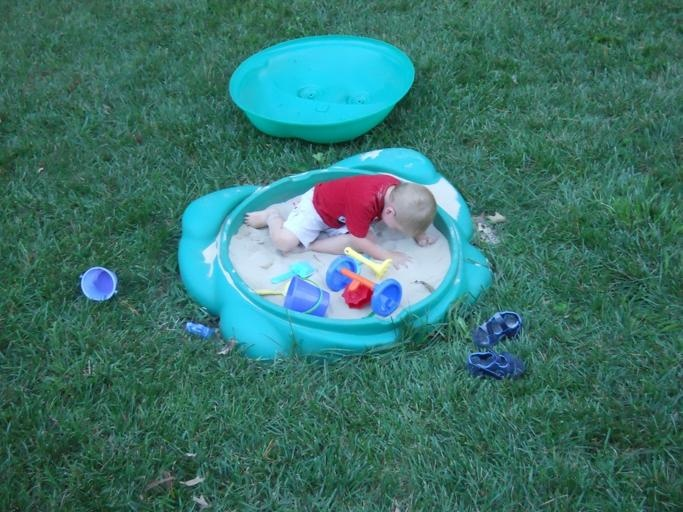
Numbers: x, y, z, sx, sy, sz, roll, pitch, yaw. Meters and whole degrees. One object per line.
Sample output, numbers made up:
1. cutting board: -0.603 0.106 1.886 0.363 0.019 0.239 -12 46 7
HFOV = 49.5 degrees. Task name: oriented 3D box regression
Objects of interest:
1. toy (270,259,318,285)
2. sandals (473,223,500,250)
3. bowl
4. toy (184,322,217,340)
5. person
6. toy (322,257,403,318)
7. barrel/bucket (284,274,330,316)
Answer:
1. toy: -0.330 0.119 5.122 0.255 0.038 0.141 -25 53 -31
2. sandals: 1.053 -0.155 5.317 0.128 0.041 0.183 -5 51 -7
3. bowl: -0.164 -1.441 6.112 1.507 0.460 1.226 -12 65 -6
4. toy: -0.938 0.487 4.884 0.172 0.063 0.089 18 32 4
5. person: 0.004 -0.302 5.173 1.269 0.561 0.562 9 64 4
6. toy: 0.177 0.160 4.900 0.242 0.538 0.260 -6 101 -40
7. barrel/bucket: -0.224 0.277 4.898 0.281 0.185 0.214 8 64 4
